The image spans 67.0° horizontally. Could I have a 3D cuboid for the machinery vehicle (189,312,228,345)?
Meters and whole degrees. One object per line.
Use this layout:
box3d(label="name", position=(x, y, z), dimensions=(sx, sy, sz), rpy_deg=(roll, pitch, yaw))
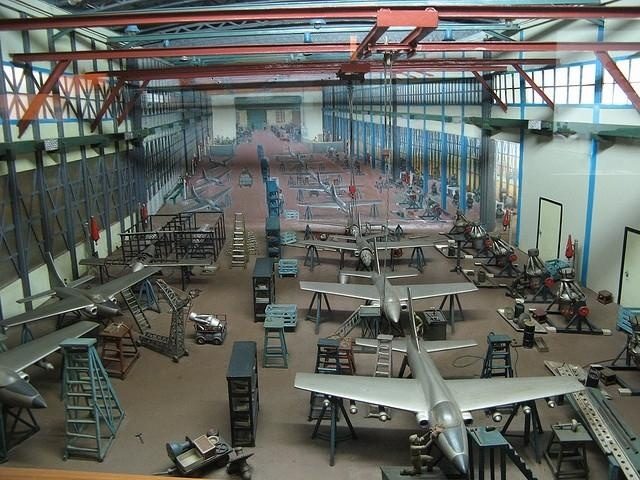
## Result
box3d(label="machinery vehicle", position=(-4.283, 3.367, 18.440), dimensions=(1.411, 0.925, 0.944), rpy_deg=(1, 14, 1))

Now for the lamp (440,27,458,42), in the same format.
box3d(label="lamp", position=(5.181, -8.213, 19.563), dimensions=(0.619, 0.507, 0.550), rpy_deg=(-1, 0, 0))

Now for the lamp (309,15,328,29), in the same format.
box3d(label="lamp", position=(-0.096, -8.240, 18.702), dimensions=(0.551, 0.290, 0.412), rpy_deg=(5, 3, 36))

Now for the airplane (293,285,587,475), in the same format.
box3d(label="airplane", position=(2.896, 3.957, 13.240), dimensions=(5.534, 1.714, 5.257), rpy_deg=(-1, 15, -1))

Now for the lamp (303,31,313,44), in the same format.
box3d(label="lamp", position=(-0.496, -7.959, 19.114), dimensions=(0.319, 0.299, 0.413), rpy_deg=(3, -34, 8))
